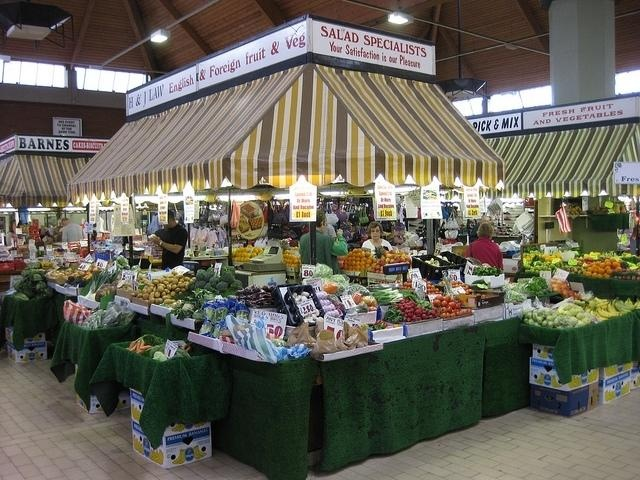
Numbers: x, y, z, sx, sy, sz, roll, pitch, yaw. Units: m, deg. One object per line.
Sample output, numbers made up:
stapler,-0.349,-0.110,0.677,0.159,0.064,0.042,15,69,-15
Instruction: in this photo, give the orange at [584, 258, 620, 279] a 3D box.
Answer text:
orange,4.061,0.399,7.649,0.384,0.145,0.302,0,4,-2

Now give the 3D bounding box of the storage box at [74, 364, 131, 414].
storage box,-2.458,1.580,5.986,0.509,0.385,0.528,4,3,34

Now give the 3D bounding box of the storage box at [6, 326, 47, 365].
storage box,-4.267,1.478,7.798,0.450,0.444,0.661,-6,8,-39

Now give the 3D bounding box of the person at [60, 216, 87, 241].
person,-6.402,-0.273,13.821,0.609,0.846,0.422,-4,7,-32

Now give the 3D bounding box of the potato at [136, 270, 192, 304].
potato,-1.793,0.536,6.021,0.456,0.181,0.386,1,5,44

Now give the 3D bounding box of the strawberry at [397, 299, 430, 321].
strawberry,0.887,0.672,5.093,0.231,0.119,0.174,10,3,43

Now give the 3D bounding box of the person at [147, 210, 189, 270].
person,-2.402,0.014,8.509,0.533,0.971,0.985,-3,7,-15

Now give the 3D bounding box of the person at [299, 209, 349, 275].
person,0.052,0.049,6.989,0.633,0.836,1.014,-1,7,-2

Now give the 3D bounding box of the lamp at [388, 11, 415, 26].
lamp,2.075,-5.804,14.073,0.444,0.301,0.861,2,8,21

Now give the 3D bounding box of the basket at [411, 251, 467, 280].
basket,1.499,0.328,6.726,0.727,0.245,0.592,-7,9,-37

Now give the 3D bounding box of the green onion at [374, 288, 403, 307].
green onion,0.665,0.566,5.400,0.175,0.066,0.175,-4,9,-40

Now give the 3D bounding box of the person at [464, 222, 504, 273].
person,2.404,0.312,7.820,0.520,1.158,0.392,2,22,17

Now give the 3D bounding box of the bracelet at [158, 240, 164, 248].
bracelet,-2.455,0.069,8.240,0.021,0.095,0.065,-4,4,-38

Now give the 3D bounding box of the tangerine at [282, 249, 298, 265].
tangerine,-0.427,0.267,7.973,0.175,0.083,0.218,-4,24,-23
